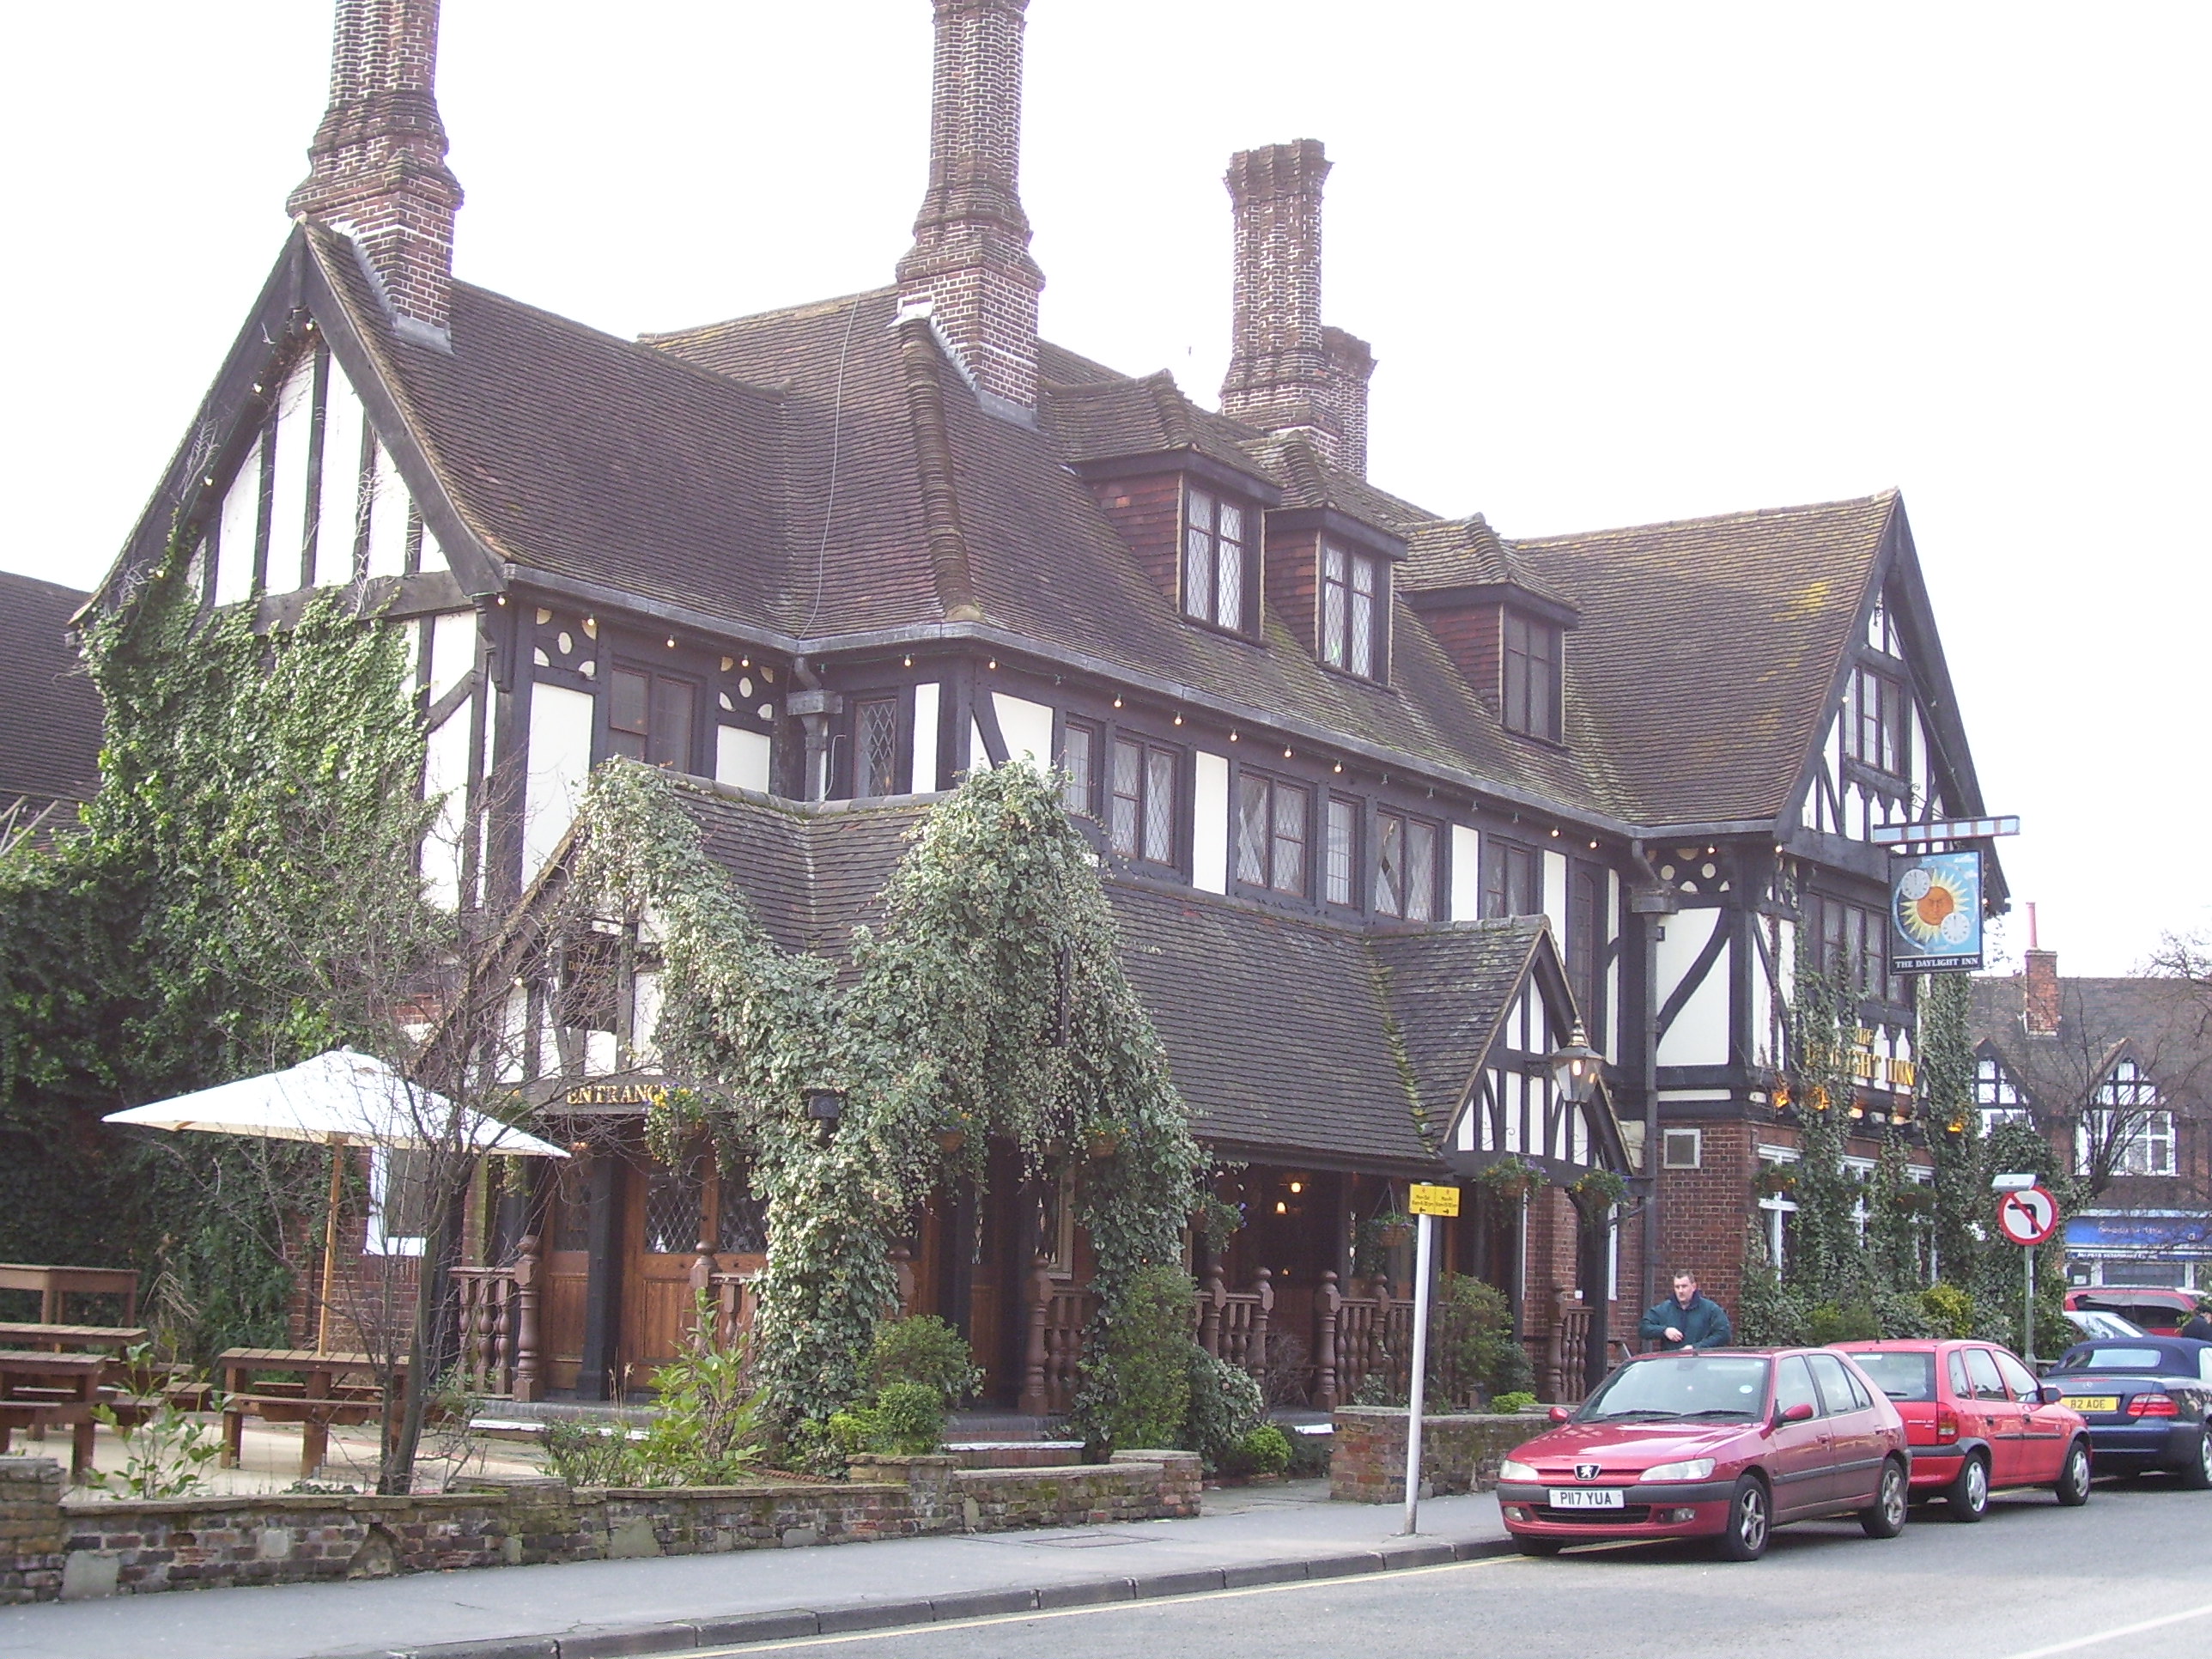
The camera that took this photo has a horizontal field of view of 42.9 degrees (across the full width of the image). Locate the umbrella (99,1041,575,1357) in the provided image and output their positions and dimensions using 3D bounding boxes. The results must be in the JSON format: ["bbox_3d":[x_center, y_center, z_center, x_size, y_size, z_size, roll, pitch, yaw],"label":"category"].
[{"bbox_3d":[-7.129,3.574,26.730,2.672,2.142,2.967,9,-11,-21],"label":"umbrella"}]

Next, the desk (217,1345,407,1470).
[{"bbox_3d":[-6.586,4.818,23.415,1.607,1.055,1.529,6,-7,-44],"label":"desk"}]
